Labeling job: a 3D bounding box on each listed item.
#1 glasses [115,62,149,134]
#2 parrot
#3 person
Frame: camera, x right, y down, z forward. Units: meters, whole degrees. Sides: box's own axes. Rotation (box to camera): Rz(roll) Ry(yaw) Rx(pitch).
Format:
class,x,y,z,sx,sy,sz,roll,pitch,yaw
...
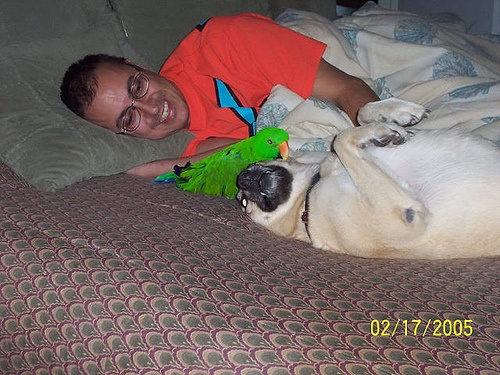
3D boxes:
class,x,y,z,sx,sy,sz,roll,pitch,yaw
glasses,-0.467,-0.354,1.607,0.153,0.242,0.153,-21,40,-40
parrot,-0.103,-0.067,1.366,0.545,0.242,0.138,4,19,19
person,-0.151,-0.359,1.785,1.275,0.439,0.643,2,60,-2
